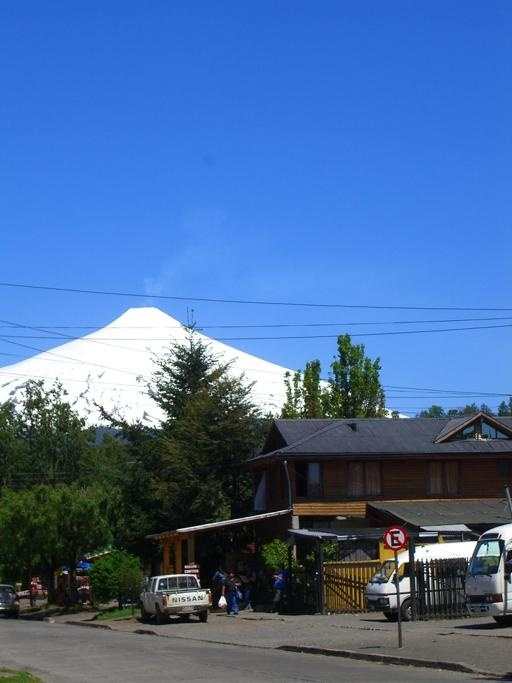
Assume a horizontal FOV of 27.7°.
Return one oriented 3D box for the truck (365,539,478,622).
[{"bbox_3d":[5.770,7.045,30.724,4.465,2.258,2.189,3,-11,-21],"label":"truck"}]
